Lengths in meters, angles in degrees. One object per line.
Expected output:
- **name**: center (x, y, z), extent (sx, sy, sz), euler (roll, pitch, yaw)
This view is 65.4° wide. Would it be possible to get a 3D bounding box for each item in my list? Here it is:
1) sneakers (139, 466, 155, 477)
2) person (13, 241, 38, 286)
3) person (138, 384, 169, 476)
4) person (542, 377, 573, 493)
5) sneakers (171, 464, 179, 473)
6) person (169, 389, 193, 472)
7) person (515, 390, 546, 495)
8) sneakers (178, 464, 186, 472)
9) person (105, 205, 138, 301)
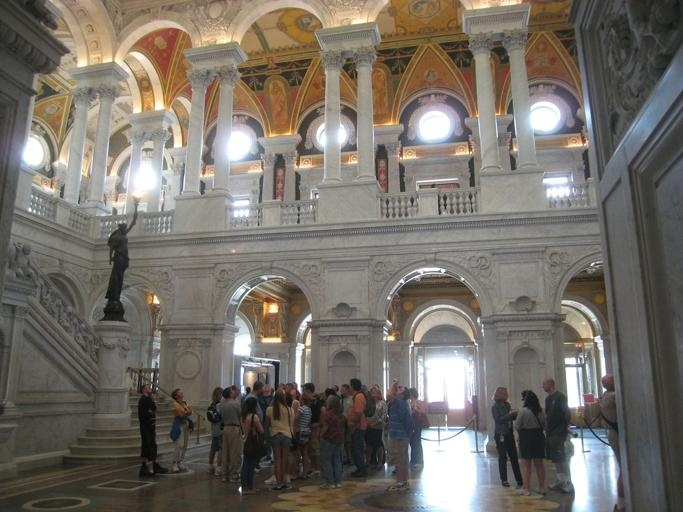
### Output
- **sneakers**: center (-3.705, 4.060, 10.186), extent (0.281, 0.245, 0.375), euler (6, -19, -19)
- **person**: center (-6.077, 0.125, 10.186), extent (0.458, 0.732, 0.449), euler (8, 6, 22)
- **person**: center (-3.677, 3.338, 10.253), extent (0.383, 1.656, 0.718), euler (-5, -18, 16)
- **person**: center (3.628, 2.984, 8.939), extent (0.428, 1.816, 1.200), euler (-7, -19, 21)
- **sneakers**: center (-3.294, 4.221, 10.618), extent (0.146, 0.142, 0.159), euler (8, -19, -23)
- **person**: center (-3.327, 3.554, 11.011), extent (0.449, 1.659, 1.370), euler (5, -19, -16)
- **person**: center (3.093, 3.023, 8.734), extent (0.456, 1.638, 1.072), euler (-6, -19, 18)
- **sneakers**: center (-3.214, 4.265, 10.737), extent (0.147, 0.122, 0.251), euler (5, -19, -14)
- **person**: center (-5.591, -0.044, 13.389), extent (0.591, 2.511, 1.299), euler (8, -19, -23)
